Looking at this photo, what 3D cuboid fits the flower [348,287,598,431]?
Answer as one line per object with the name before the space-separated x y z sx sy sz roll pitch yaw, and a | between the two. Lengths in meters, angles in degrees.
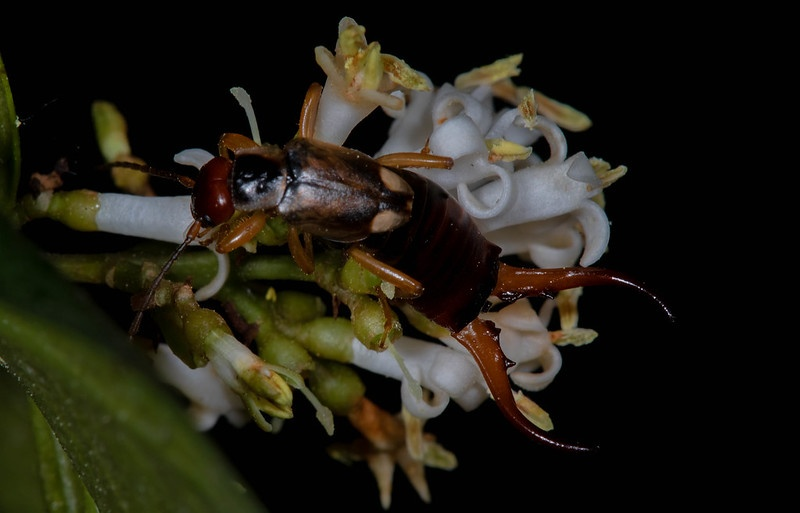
flower | 0.232 0.289 2.217 0.496 0.155 0.352 8 9 -22
